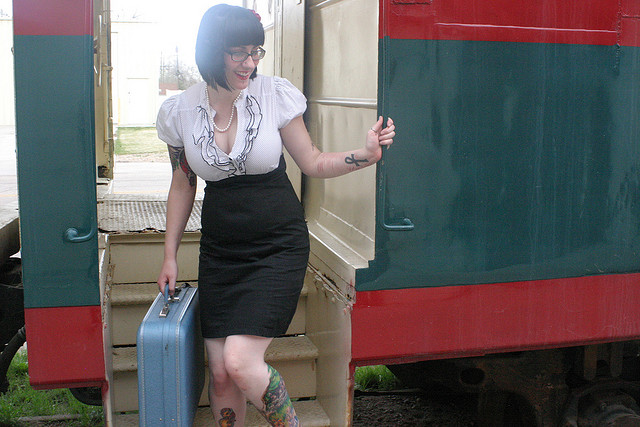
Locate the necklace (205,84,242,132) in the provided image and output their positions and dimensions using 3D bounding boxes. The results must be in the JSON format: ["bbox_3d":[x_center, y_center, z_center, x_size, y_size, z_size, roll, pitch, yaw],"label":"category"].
[{"bbox_3d":[-0.498,-0.540,3.171,0.151,0.237,0.049,0,-3,1],"label":"necklace"}]

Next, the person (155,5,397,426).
[{"bbox_3d":[-0.327,0.045,3.154,1.040,2.188,0.489,-2,7,-10],"label":"person"}]

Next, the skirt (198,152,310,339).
[{"bbox_3d":[-0.339,0.181,3.144,0.573,0.913,0.404,-2,7,-11],"label":"skirt"}]
